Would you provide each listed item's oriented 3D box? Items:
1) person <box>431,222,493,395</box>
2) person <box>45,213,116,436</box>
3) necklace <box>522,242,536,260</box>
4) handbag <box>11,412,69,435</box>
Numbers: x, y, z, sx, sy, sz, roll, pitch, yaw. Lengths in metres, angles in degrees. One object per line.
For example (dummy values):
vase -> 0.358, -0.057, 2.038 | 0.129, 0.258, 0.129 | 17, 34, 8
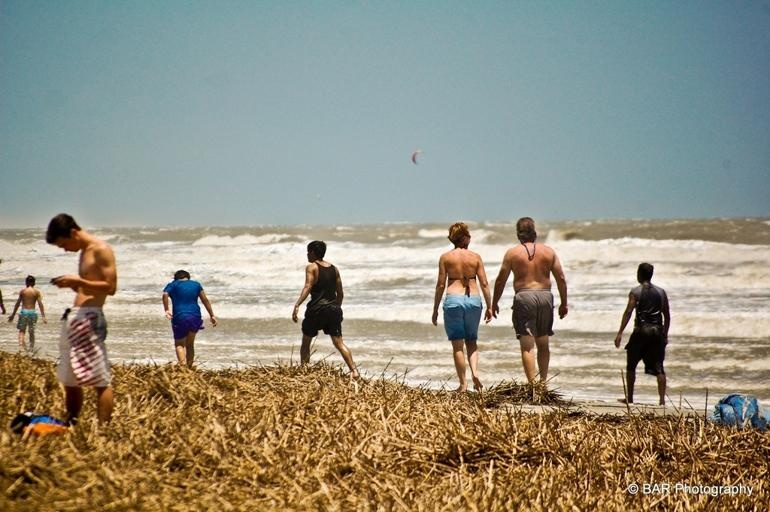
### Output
person -> 1.305, 0.830, 20.013 | 0.936, 2.762, 1.007 | -3, 5, -28
person -> -4.474, 0.924, 17.538 | 0.945, 3.089, 0.689 | -1, 4, -5
necklace -> 2.425, -0.081, 19.805 | 0.212, 0.276, 0.104 | -5, -5, 16
handbag -> -5.009, 2.438, 17.061 | 0.567, 0.231, 0.397 | -5, 2, 5
